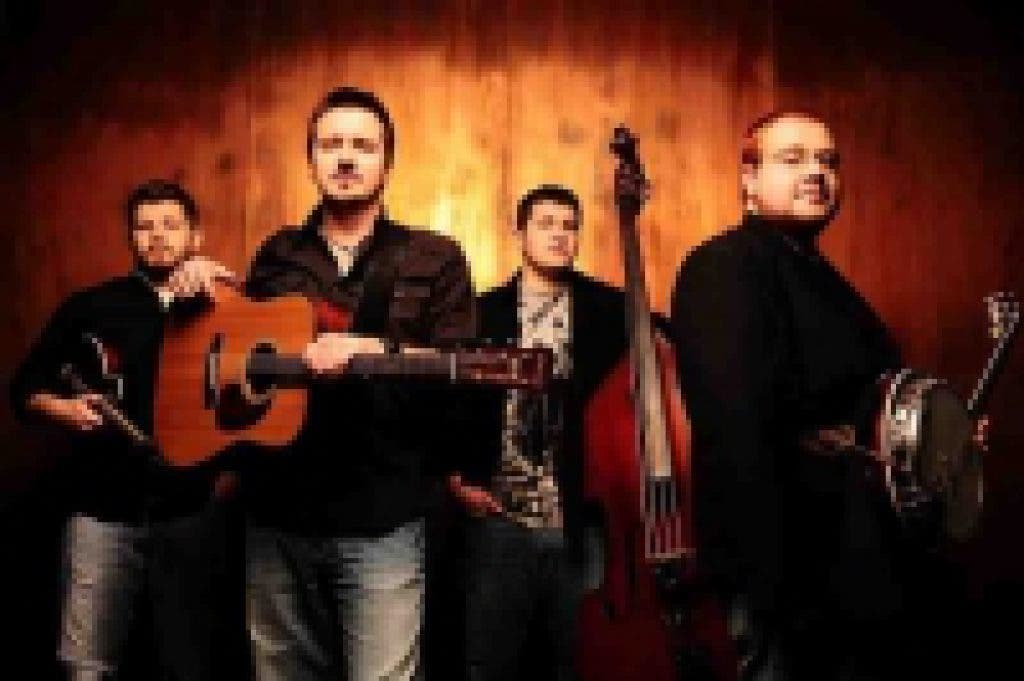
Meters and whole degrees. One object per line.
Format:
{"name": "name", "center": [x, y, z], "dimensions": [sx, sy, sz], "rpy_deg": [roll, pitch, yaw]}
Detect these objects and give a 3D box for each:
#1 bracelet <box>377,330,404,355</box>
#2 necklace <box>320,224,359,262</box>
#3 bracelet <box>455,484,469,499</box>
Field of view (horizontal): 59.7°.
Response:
{"name": "bracelet", "center": [-0.492, 0.009, 3.509], "dimensions": [0.073, 0.047, 0.140], "rpy_deg": [11, -4, -7]}
{"name": "necklace", "center": [-0.747, -0.418, 3.804], "dimensions": [0.108, 0.168, 0.044], "rpy_deg": [-40, -15, -8]}
{"name": "bracelet", "center": [-0.235, 0.696, 4.060], "dimensions": [0.049, 0.049, 0.012], "rpy_deg": [47, 21, 30]}
